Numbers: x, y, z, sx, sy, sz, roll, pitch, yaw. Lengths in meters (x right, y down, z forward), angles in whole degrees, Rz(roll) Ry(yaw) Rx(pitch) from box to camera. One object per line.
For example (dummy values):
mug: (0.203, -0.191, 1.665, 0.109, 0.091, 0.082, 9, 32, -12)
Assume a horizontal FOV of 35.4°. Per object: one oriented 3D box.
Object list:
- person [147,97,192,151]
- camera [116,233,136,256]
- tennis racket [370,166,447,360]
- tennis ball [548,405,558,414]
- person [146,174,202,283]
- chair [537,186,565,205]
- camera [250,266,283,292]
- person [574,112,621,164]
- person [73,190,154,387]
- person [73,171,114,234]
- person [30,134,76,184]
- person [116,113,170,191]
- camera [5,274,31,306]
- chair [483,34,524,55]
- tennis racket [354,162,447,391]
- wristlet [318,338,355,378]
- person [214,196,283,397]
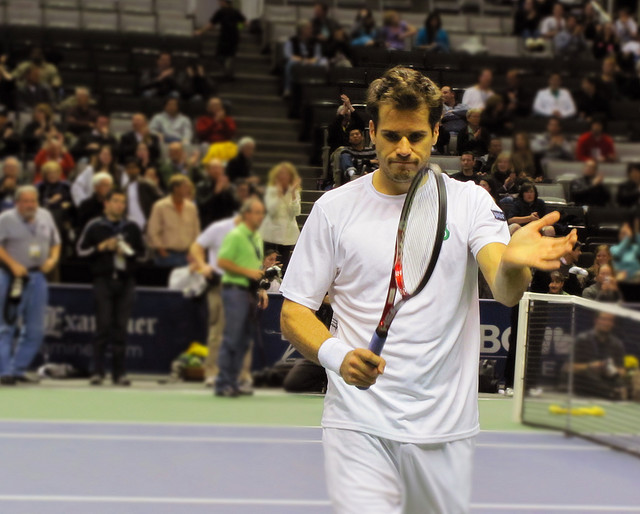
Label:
person: (-2.641, -2.285, 17.911, 0.751, 1.193, 0.587, -8, -18, 11)
camera: (-2.441, -0.136, 12.654, 0.094, 0.300, 0.168, -27, -28, -19)
tennis racket: (0.540, 0.061, 6.217, 0.348, 1.352, 0.063, 17, 8, 2)
tennis ball: (2.788, 1.841, 12.056, 0.082, 0.122, 0.181, 3, 8, 8)
person: (-1.995, -0.345, 13.762, 0.695, 1.522, 0.380, 1, 7, -4)
chair: (4.033, -1.075, 17.582, 0.455, 0.396, 0.451, 3, 6, 0)
camera: (-0.705, 0.256, 13.098, 0.297, 0.094, 0.278, -49, 21, -24)
person: (5.849, -2.368, 21.346, 0.834, 1.369, 0.750, 0, 10, 10)
person: (-2.627, 0.387, 13.067, 0.827, 2.494, 1.291, 1, 7, -4)
person: (-3.091, -0.609, 13.543, 0.347, 1.212, 0.324, 8, 31, -18)
person: (-3.944, -1.422, 14.935, 0.668, 0.609, 1.575, -16, 7, -26)
person: (-2.796, -1.601, 16.029, 0.768, 1.466, 0.428, -1, -23, -8)
camera: (-3.732, 0.414, 12.474, 0.309, 0.379, 0.210, -1, 8, -18)
chair: (4.730, -5.471, 26.050, 1.527, 0.535, 0.770, 2, 10, 1)
tennis racket: (0.543, 0.012, 6.118, 0.495, 1.142, 0.341, 0, 7, -11)
wristlet: (0.111, 0.601, 6.185, 0.171, 0.186, 0.236, 24, -24, 20)
person: (-0.988, 0.574, 12.530, 0.497, 2.269, 0.923, 3, 7, 10)
